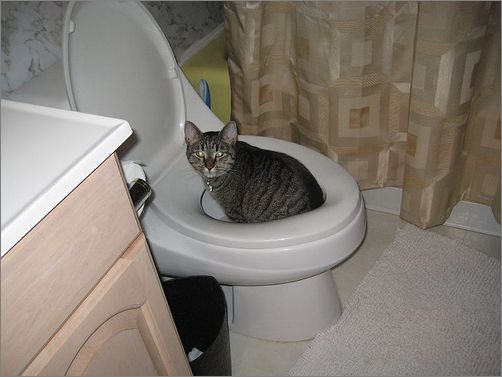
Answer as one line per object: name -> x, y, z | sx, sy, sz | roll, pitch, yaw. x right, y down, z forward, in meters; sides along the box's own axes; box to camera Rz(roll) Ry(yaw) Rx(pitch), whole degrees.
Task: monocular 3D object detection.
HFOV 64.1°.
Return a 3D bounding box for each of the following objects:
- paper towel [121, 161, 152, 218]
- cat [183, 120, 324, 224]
paper towel -> -0.219, 0.009, 0.797 | 0.031, 0.095, 0.096 | -23, 45, 14
cat -> 0.008, -0.131, 1.335 | 0.464, 0.380, 0.239 | 14, 52, 21
